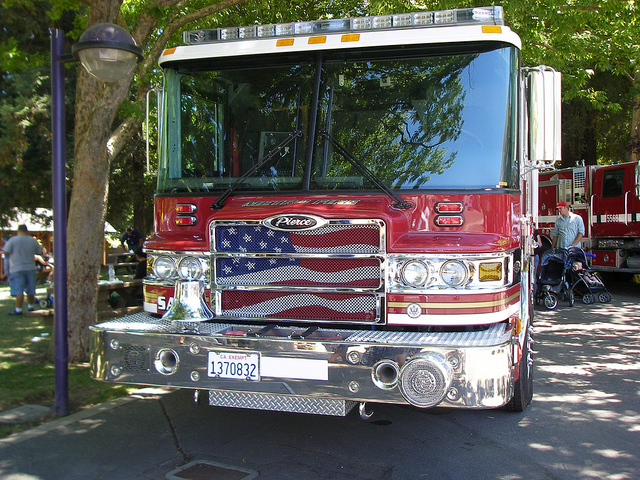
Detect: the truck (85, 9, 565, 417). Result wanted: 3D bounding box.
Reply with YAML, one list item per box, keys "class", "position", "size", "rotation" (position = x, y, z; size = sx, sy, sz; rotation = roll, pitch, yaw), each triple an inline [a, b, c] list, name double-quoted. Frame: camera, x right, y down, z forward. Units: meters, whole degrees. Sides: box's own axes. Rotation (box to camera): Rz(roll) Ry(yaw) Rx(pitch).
- class: "truck"
  position: [0.725, -0.331, 7.678]
  size: [3.084, 3.042, 5.138]
  rotation: [-1, -2, 18]

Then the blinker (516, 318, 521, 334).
- class: "blinker"
  position: [1.943, 0.830, 6.081]
  size: [0.026, 0.120, 0.117]
  rotation: [6, 3, 12]

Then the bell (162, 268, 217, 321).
- class: "bell"
  position: [-1.206, 0.510, 5.827]
  size: [0.373, 0.450, 0.391]
  rotation: [3, 6, 22]
